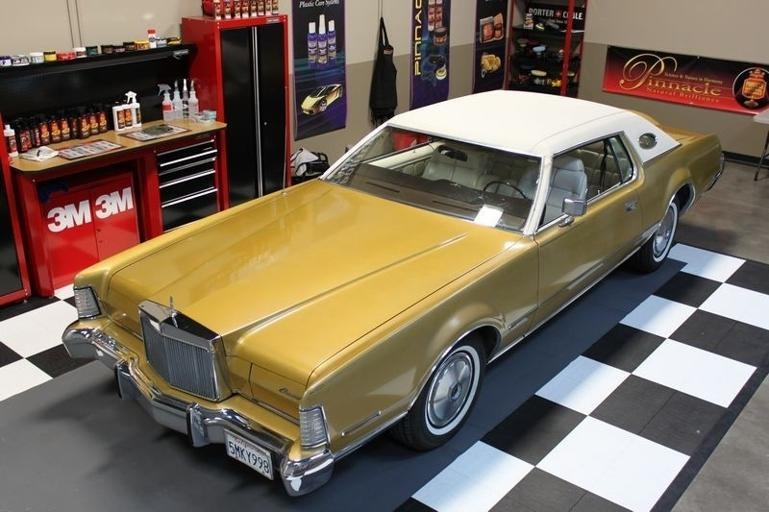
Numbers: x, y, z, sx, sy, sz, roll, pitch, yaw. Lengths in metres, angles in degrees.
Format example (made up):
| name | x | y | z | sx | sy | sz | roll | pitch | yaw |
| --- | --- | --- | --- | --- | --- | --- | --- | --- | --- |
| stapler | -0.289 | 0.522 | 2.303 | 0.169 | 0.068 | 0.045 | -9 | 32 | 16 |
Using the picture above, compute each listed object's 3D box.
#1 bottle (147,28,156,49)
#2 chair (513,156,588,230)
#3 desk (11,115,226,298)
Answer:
| name | x | y | z | sx | sy | sz | roll | pitch | yaw |
| --- | --- | --- | --- | --- | --- | --- | --- | --- | --- |
| bottle | -2.611 | -2.441 | 5.502 | 0.120 | 0.160 | 0.370 | -12 | 31 | -22 |
| chair | 1.267 | -0.478 | 3.787 | 0.315 | 0.500 | 0.399 | 28 | 13 | 5 |
| desk | -2.661 | -0.487 | 4.679 | 0.417 | 0.944 | 1.609 | 19 | 36 | 36 |
